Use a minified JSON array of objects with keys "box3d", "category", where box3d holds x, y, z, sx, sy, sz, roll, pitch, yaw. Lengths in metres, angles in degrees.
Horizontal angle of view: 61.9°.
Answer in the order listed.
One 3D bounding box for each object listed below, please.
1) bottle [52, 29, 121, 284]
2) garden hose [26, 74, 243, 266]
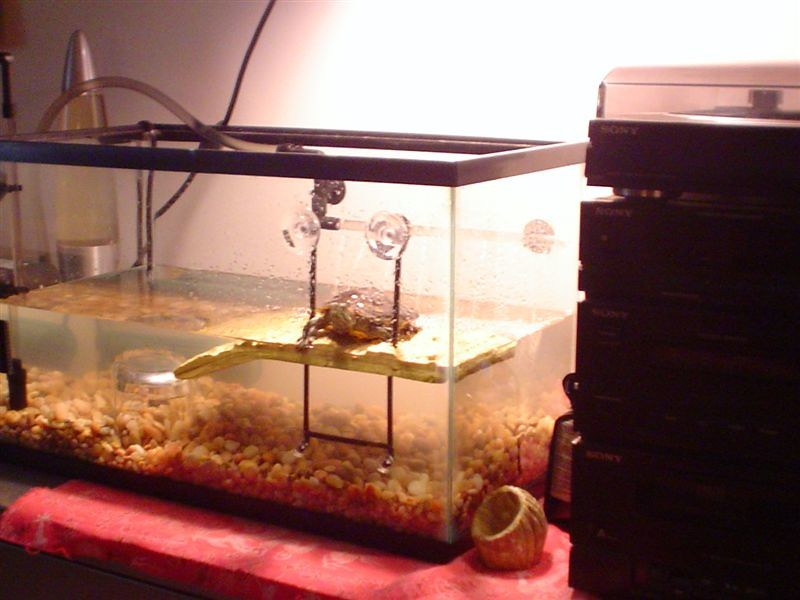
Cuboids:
[{"box3d":[-0.610,-0.258,1.279,0.118,0.500,0.125,1,8,0],"category":"bottle"},{"box3d":[-0.534,-0.363,1.552,0.550,0.312,0.121,32,-9,-17],"category":"garden hose"}]
